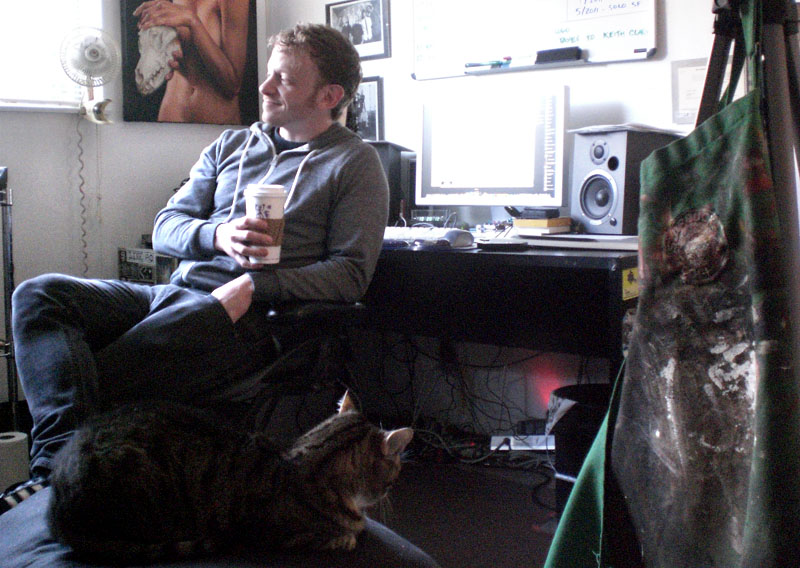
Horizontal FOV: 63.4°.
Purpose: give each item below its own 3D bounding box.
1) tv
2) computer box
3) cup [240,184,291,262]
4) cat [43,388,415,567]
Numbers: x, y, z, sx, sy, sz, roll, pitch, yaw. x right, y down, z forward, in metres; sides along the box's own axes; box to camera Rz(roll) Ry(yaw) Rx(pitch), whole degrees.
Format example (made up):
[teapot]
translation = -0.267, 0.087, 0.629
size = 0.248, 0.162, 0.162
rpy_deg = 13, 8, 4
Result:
[tv]
translation = 0.337, -0.470, 2.326
size = 0.530, 0.386, 0.058
rpy_deg = 2, 4, 33
[computer box]
translation = 0.490, 0.479, 1.810
size = 0.153, 0.432, 0.208
rpy_deg = 7, 10, 20
[cup]
translation = -0.313, -0.132, 1.498
size = 0.084, 0.192, 0.116
rpy_deg = 1, 10, -14
[cat]
translation = -0.283, 0.296, 1.135
size = 0.504, 0.208, 0.235
rpy_deg = 3, 2, -27
